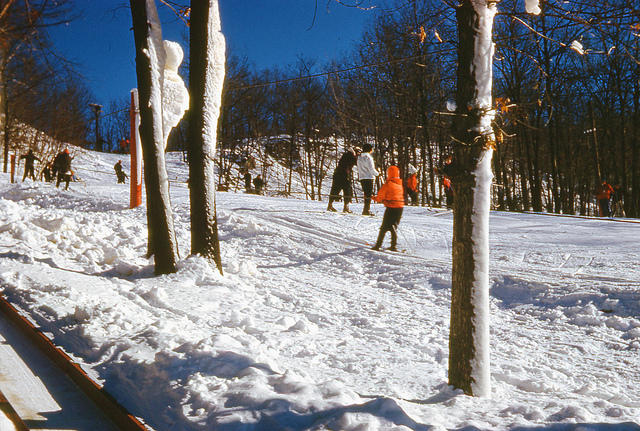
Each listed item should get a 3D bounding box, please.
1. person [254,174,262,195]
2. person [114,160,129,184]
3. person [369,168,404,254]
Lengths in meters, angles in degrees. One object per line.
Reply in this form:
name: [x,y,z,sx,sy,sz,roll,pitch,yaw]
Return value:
person: [-4.047,-1.983,36.152,0.454,1.261,0.409,6,-3,3]
person: [-12.386,-2.652,35.287,0.570,1.366,2.332,-5,13,-19]
person: [1.777,-0.173,15.364,0.800,2.395,1.598,0,13,5]
